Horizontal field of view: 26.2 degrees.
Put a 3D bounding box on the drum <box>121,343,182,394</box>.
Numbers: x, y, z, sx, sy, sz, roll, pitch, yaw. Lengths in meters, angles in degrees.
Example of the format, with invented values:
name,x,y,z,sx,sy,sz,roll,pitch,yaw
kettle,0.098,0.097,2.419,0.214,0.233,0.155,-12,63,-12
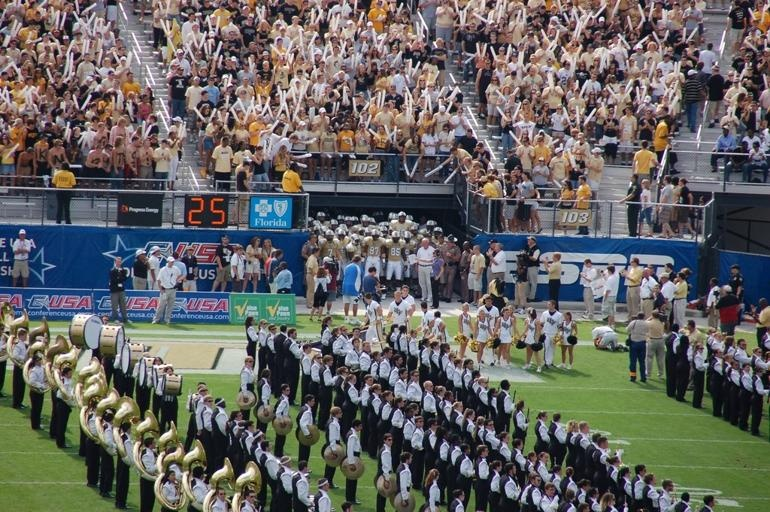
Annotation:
name,x,y,z,sx,sy,sz,roll,pitch,yaw
drum,-7.062,3.339,48.679,1.866,1.453,0.699,4,3,42

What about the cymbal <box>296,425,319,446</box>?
name,x,y,z,sx,sy,sz,roll,pitch,yaw
cymbal,-2.372,5.120,47.242,0.612,0.676,0.380,1,2,-4
